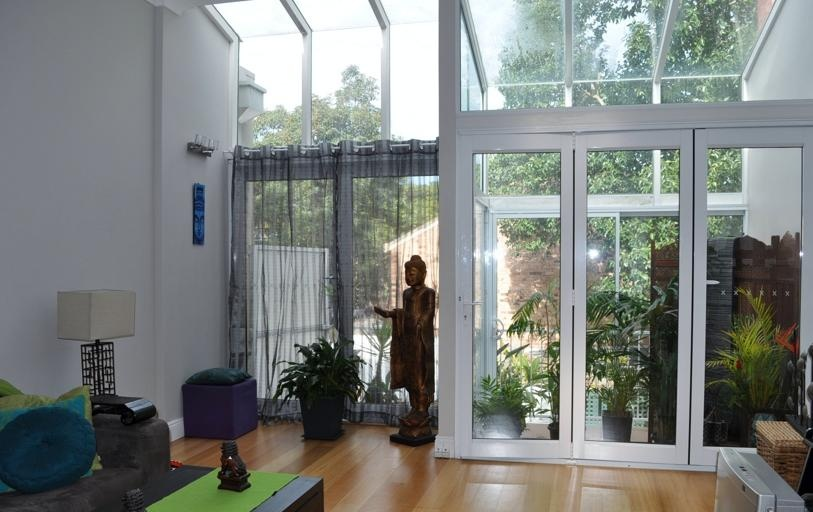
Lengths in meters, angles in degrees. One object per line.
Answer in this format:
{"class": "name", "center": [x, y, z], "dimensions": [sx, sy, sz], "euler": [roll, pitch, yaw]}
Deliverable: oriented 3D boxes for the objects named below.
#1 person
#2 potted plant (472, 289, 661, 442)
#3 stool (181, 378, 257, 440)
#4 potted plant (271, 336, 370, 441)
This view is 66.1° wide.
{"class": "person", "center": [0.025, 0.868, 6.040], "dimensions": [0.494, 1.730, 0.259], "euler": [-1, -2, 1]}
{"class": "potted plant", "center": [1.539, 0.719, 6.145], "dimensions": [1.804, 1.373, 1.235], "euler": [0, -5, 4]}
{"class": "stool", "center": [-1.907, 1.541, 6.377], "dimensions": [0.557, 0.517, 0.579], "euler": [-2, -1, 14]}
{"class": "potted plant", "center": [-0.851, 1.323, 6.227], "dimensions": [0.810, 0.989, 0.377], "euler": [0, -2, -12]}
